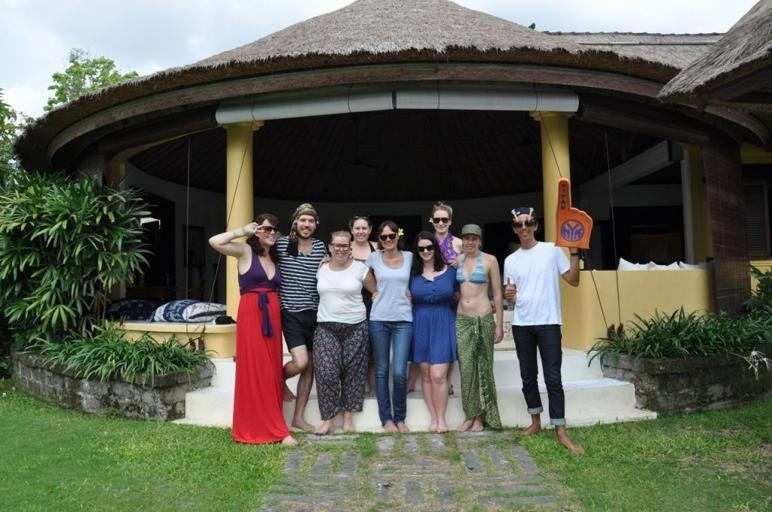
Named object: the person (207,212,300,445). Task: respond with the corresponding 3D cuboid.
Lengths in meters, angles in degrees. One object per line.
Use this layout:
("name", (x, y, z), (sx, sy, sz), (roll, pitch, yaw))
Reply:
("person", (-1.312, 0.743, 6.237), (0.608, 2.207, 0.853), (-4, 15, -15))

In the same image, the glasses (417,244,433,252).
("glasses", (0.419, -0.078, 6.484), (0.159, 0.078, 0.043), (1, 15, 5))

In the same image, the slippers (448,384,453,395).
("slippers", (0.721, 1.484, 6.808), (0.050, 0.068, 0.174), (-2, -8, 7))

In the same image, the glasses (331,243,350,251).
("glasses", (-0.462, -0.089, 6.363), (0.161, 0.070, 0.048), (0, 15, 1))

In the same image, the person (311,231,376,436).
("person", (-0.439, 0.810, 6.428), (0.616, 2.037, 0.546), (-1, 14, -2))

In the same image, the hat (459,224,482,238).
("hat", (0.914, -0.289, 6.605), (0.192, 0.139, 0.281), (0, -16, 5))

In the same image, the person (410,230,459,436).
("person", (0.470, 0.814, 6.588), (0.707, 2.068, 0.582), (-2, -2, 4))

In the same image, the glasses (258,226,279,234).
("glasses", (-1.189, -0.265, 6.270), (0.215, 0.082, 0.053), (-9, 17, -29))

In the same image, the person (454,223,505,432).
("person", (0.996, 0.758, 6.524), (0.512, 2.092, 0.658), (1, 15, 6))

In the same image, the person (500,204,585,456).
("person", (1.603, 0.715, 6.321), (0.709, 2.310, 0.992), (-1, 15, 0))

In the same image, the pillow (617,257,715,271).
("pillow", (3.663, 0.150, 8.408), (0.562, 0.205, 0.679), (1, -4, 4))

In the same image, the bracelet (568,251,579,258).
("bracelet", (1.926, -0.042, 6.300), (0.076, 0.112, 0.046), (-3, -12, 3))
